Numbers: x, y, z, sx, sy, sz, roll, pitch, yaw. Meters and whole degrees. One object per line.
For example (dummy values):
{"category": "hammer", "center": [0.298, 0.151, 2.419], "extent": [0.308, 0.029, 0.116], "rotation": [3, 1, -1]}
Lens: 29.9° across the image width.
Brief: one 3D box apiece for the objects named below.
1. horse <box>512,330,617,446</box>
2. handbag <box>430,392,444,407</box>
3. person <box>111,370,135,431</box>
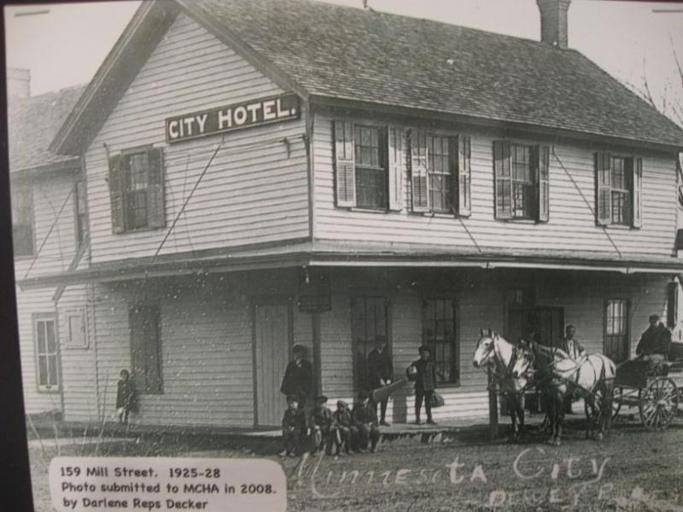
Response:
{"category": "horse", "center": [3.546, 2.063, 19.899], "extent": [2.041, 1.613, 0.696], "rotation": [2, 12, -25]}
{"category": "handbag", "center": [1.423, 2.184, 19.348], "extent": [0.092, 0.192, 0.172], "rotation": [-15, -14, 35]}
{"category": "person", "center": [-3.296, 2.160, 19.613], "extent": [0.194, 0.856, 0.389], "rotation": [3, -8, -44]}
